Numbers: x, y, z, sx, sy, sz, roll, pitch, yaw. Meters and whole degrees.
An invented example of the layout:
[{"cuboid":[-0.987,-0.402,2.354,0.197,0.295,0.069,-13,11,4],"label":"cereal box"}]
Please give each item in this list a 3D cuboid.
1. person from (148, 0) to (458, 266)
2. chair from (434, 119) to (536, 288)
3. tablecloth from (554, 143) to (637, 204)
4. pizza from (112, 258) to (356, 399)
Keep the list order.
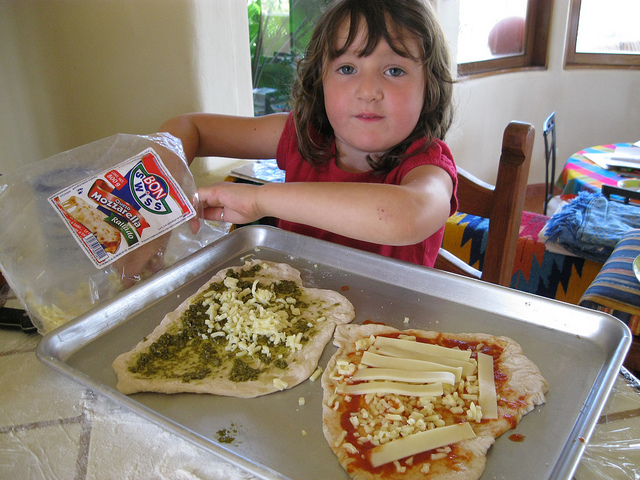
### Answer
[{"cuboid":[-0.073,-0.305,1.457,0.577,0.886,0.488,24,41,21],"label":"person"},{"cuboid":[0.503,-0.093,1.576,0.249,0.561,0.287,12,31,21],"label":"chair"},{"cuboid":[1.419,-0.361,2.613,0.409,0.107,0.409,-33,38,-24],"label":"tablecloth"},{"cuboid":[-0.170,0.209,1.102,0.366,0.059,0.496,18,36,29],"label":"pizza"}]
